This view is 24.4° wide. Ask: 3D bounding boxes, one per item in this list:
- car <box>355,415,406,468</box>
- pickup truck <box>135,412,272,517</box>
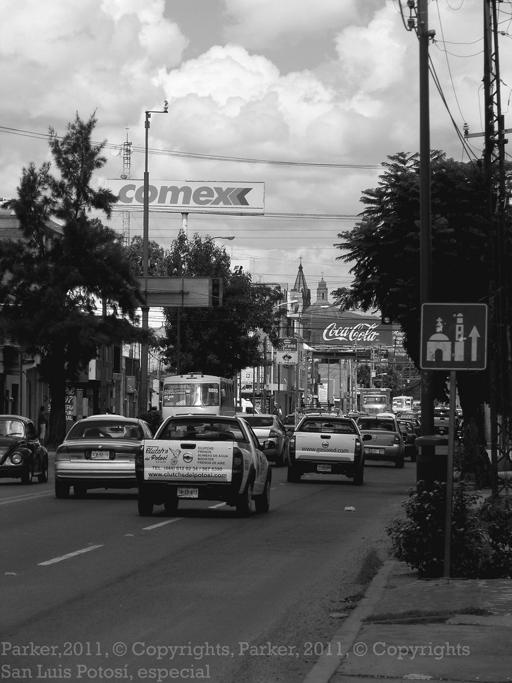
[{"bbox_3d":[4.143,3.077,38.217,0.944,1.078,2.179,0,1,7],"label":"car"},{"bbox_3d":[-0.826,1.868,18.053,1.893,1.524,2.159,-1,-4,-2],"label":"pickup truck"}]
